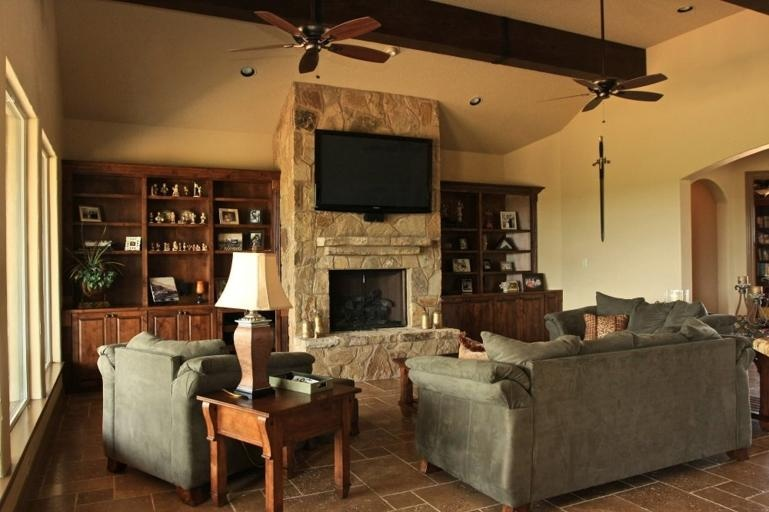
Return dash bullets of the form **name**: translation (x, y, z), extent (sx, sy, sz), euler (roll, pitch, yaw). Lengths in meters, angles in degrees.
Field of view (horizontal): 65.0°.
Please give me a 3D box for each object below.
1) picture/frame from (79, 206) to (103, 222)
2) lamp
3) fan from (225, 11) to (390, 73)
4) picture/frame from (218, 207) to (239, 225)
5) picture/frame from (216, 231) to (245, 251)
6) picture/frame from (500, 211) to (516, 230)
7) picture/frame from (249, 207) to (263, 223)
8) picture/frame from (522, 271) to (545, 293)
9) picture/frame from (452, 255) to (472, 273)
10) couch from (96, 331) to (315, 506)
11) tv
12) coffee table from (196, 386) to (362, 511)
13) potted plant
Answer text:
- **picture/frame**: translation (-4.067, -0.588, 8.363), extent (0.249, 0.177, 0.017), euler (7, -30, -41)
- **lamp**: translation (-1.090, 0.560, 5.064), extent (0.605, 1.198, 0.376), euler (-1, -1, -14)
- **fan**: translation (-0.598, -2.076, 5.989), extent (1.064, 0.248, 0.988), euler (1, -4, -11)
- **picture/frame**: translation (-2.321, -0.598, 9.009), extent (0.296, 0.263, 0.022), euler (-6, -16, -32)
- **picture/frame**: translation (-2.305, -0.224, 9.009), extent (0.322, 0.205, 0.044), euler (3, -17, -18)
- **picture/frame**: translation (2.190, -0.629, 10.688), extent (0.363, 0.358, 0.041), euler (1, -11, -18)
- **picture/frame**: translation (-1.948, -0.623, 9.162), extent (0.272, 0.269, 0.040), euler (1, -6, -22)
- **picture/frame**: translation (2.591, 0.453, 10.494), extent (0.406, 0.305, 0.133), euler (1, -9, -11)
- **picture/frame**: translation (1.321, 0.145, 10.342), extent (0.326, 0.238, 0.042), euler (4, -15, -19)
- **couch**: translation (-1.761, 1.342, 5.852), extent (2.006, 1.363, 1.424), euler (-1, 0, 41)
- **tv**: translation (-0.220, -1.202, 8.572), extent (1.458, 0.773, 0.122), euler (0, -1, -20)
- **coffee table**: translation (-0.853, 1.348, 5.261), extent (1.056, 1.050, 1.405), euler (-2, -2, 43)
- **potted plant**: translation (-3.931, 0.119, 8.227), extent (0.696, 1.137, 0.703), euler (-1, -1, -19)
